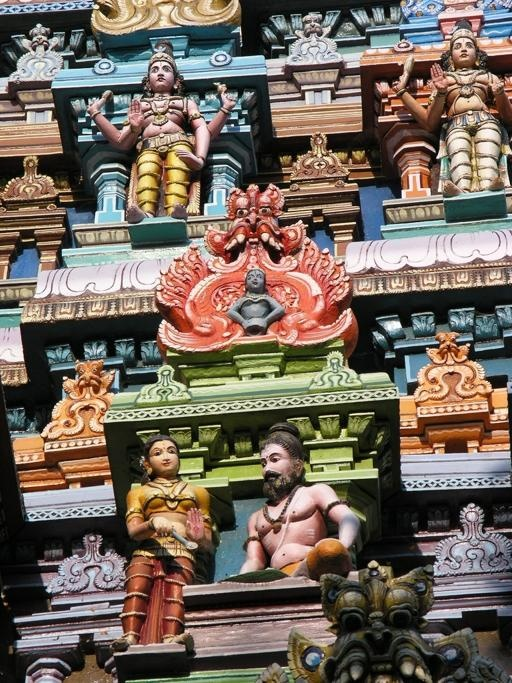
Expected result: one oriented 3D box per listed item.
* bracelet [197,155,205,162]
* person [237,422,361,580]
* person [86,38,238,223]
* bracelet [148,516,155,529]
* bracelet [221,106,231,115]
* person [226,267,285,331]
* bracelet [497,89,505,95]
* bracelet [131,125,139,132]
[{"bbox_3d":[-0.618,-2.043,19.382,0.072,0.024,0.072,29,26,24],"label":"bracelet"},{"bbox_3d":[0.218,1.051,11.459,0.755,0.840,1.249,-8,6,-7],"label":"person"},{"bbox_3d":[-1.116,-2.417,19.790,1.700,2.423,0.544,0,-21,0],"label":"person"},{"bbox_3d":[-0.651,1.173,11.046,0.049,0.054,0.058,3,-35,6],"label":"bracelet"},{"bbox_3d":[-0.346,-2.619,19.716,0.109,0.089,0.196,-7,5,-4],"label":"bracelet"},{"bbox_3d":[-0.003,-0.328,14.700,0.460,0.516,0.737,-6,6,10],"label":"person"},{"bbox_3d":[2.770,-2.808,19.543,0.067,0.058,0.063,-16,35,-29],"label":"bracelet"},{"bbox_3d":[-1.380,-2.413,19.732,0.062,0.028,0.074,5,-23,-6],"label":"bracelet"}]
